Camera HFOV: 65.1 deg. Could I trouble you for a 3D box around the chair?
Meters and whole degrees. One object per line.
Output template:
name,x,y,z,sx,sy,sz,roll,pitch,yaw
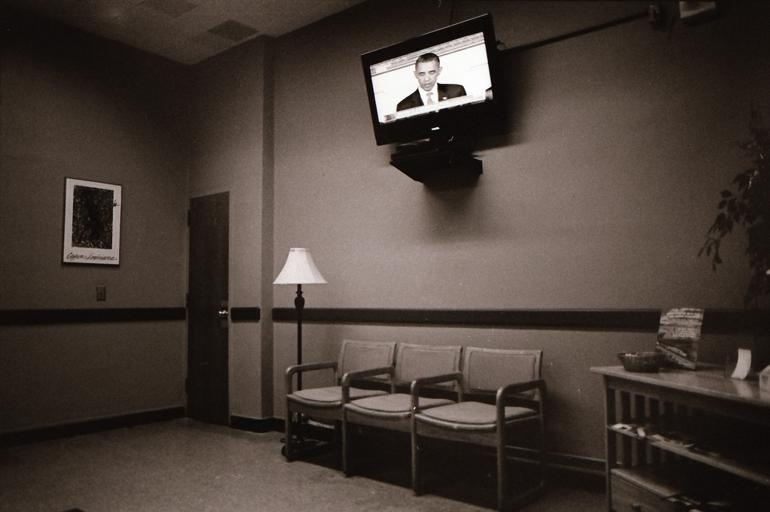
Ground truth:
chair,0.292,1.316,5.105,2.033,1.101,0.783,1,5,26

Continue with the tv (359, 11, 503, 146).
tv,0.449,-1.536,5.259,1.245,0.888,0.141,-11,1,27

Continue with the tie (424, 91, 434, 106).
tie,0.385,-1.369,5.227,0.094,0.092,0.025,6,5,25
